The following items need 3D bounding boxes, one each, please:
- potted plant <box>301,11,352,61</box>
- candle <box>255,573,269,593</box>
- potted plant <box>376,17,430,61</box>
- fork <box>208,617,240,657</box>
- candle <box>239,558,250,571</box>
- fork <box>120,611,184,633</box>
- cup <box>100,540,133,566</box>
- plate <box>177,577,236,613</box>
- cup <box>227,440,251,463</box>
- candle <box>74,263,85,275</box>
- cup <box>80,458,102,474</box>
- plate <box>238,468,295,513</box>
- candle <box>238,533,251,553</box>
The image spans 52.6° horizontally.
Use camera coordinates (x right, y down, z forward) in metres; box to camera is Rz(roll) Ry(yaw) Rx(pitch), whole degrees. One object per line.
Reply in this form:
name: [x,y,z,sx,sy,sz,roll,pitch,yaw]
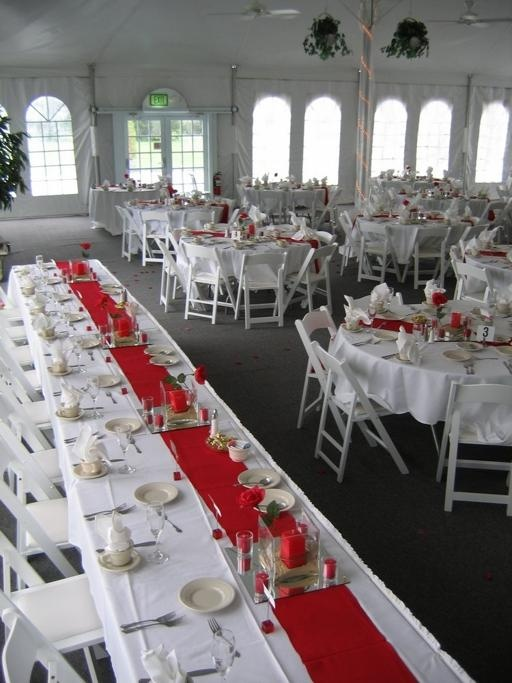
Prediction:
potted plant: [1.148,-4.748,8.098,0.518,0.688,0.531,7,13,23]
candle: [0.013,0.612,1.312,0.041,0.041,0.038,-1,17,-4]
potted plant: [2.417,-4.868,8.321,0.606,0.705,0.592,2,14,10]
fork: [-0.068,0.610,1.070,0.024,0.148,0.022,-29,24,-31]
candle: [-0.031,0.605,1.401,0.032,0.033,0.031,0,10,7]
fork: [-0.235,0.663,1.218,0.159,0.016,0.041,-9,25,-3]
cup: [-0.383,0.593,1.441,0.090,0.053,0.051,-6,28,-18]
plate: [-0.124,0.635,1.296,0.134,0.028,0.125,5,14,23]
cup: [-0.077,0.424,2.035,0.077,0.052,0.073,1,17,0]
candle: [-1.691,-0.690,4.946,0.076,0.080,0.074,-29,49,-33]
cup: [-0.612,0.457,1.927,0.058,0.038,0.053,-2,21,1]
plate: [0.025,0.505,1.800,0.109,0.018,0.239,-11,20,-17]
candle: [-0.032,0.551,1.413,0.047,0.047,0.043,-1,28,-2]
